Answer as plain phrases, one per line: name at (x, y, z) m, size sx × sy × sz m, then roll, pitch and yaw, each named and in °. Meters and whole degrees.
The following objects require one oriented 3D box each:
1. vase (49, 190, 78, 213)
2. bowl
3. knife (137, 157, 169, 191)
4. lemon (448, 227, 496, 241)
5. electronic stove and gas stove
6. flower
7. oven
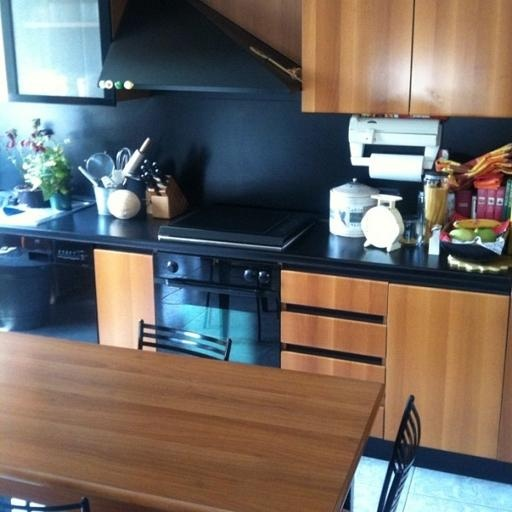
vase at (-1.106, -0.315, 3.110) m, size 0.103 × 0.083 × 0.115 m, roll 15°, pitch 27°, yaw 29°
bowl at (0.938, -0.080, 2.335) m, size 0.266 × 0.156 × 0.330 m, roll 7°, pitch 15°, yaw 24°
knife at (-0.558, -0.451, 3.021) m, size 0.202 × 0.147 × 0.062 m, roll 50°, pitch 18°, yaw 13°
lemon at (0.906, -0.088, 2.263) m, size 0.134 × 0.055 × 0.079 m, roll -2°, pitch 5°, yaw 8°
electronic stove and gas stove at (-0.074, -0.155, 2.758) m, size 0.666 × 0.113 × 0.557 m, roll 5°, pitch 14°, yaw 17°
flower at (-1.291, -0.550, 3.210) m, size 0.338 × 0.503 × 0.626 m, roll -4°, pitch 14°, yaw -20°
oven at (-0.135, 0.216, 2.833) m, size 0.597 × 0.806 × 0.554 m, roll 3°, pitch 9°, yaw 22°
